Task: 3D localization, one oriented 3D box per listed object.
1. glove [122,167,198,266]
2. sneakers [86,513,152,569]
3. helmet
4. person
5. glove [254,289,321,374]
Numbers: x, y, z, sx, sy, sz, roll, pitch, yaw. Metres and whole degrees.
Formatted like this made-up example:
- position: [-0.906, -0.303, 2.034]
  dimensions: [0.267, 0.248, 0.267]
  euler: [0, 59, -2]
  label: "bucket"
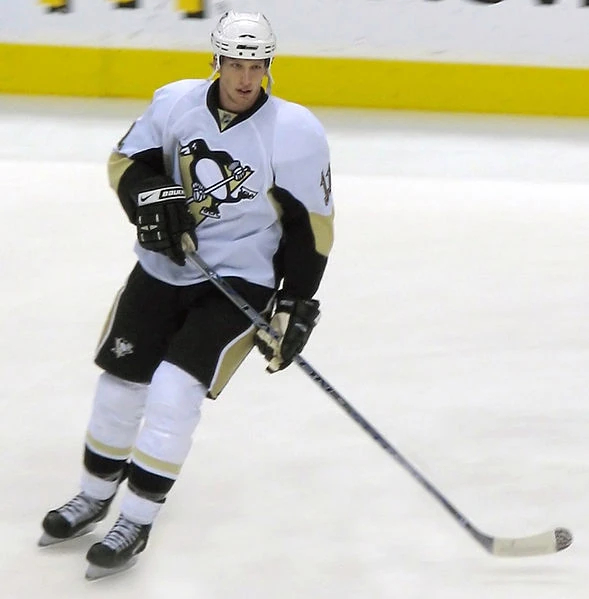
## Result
- position: [-0.323, -0.232, 2.466]
  dimensions: [0.205, 0.248, 0.106]
  euler: [-18, 11, 35]
  label: "glove"
- position: [-0.443, 0.617, 2.381]
  dimensions: [0.074, 0.124, 0.162]
  euler: [18, 22, 24]
  label: "sneakers"
- position: [-0.134, -0.678, 2.476]
  dimensions: [0.176, 0.156, 0.180]
  euler: [-2, 30, -14]
  label: "helmet"
- position: [-0.291, -0.027, 2.438]
  dimensions: [0.625, 1.386, 0.740]
  euler: [17, 23, 22]
  label: "person"
- position: [-0.031, 0.102, 2.472]
  dimensions: [0.067, 0.116, 0.154]
  euler: [-31, 24, 47]
  label: "glove"
